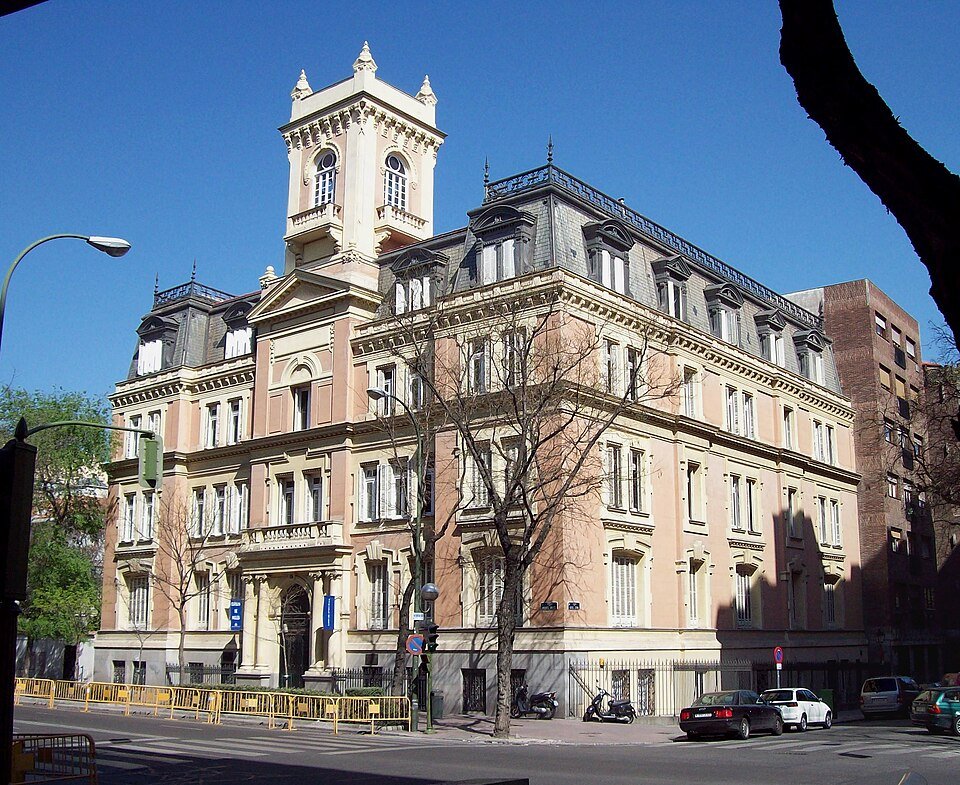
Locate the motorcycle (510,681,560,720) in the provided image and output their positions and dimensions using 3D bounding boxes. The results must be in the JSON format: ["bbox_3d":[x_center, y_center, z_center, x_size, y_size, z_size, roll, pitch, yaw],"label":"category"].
[{"bbox_3d":[1.906,10.780,38.266,1.641,1.154,0.835,-7,-27,37],"label":"motorcycle"}]

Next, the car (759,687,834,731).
[{"bbox_3d":[11.114,11.008,38.183,1.321,1.216,3.011,-9,-15,41],"label":"car"}]

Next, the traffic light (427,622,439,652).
[{"bbox_3d":[-1.512,7.421,33.229,0.211,0.824,0.572,4,-17,-14],"label":"traffic light"}]

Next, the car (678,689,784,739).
[{"bbox_3d":[7.703,9.921,33.883,1.394,1.483,4.266,-13,-21,37],"label":"car"}]

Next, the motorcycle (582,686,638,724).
[{"bbox_3d":[4.481,10.947,38.139,1.911,1.325,0.911,3,-34,-1],"label":"motorcycle"}]
